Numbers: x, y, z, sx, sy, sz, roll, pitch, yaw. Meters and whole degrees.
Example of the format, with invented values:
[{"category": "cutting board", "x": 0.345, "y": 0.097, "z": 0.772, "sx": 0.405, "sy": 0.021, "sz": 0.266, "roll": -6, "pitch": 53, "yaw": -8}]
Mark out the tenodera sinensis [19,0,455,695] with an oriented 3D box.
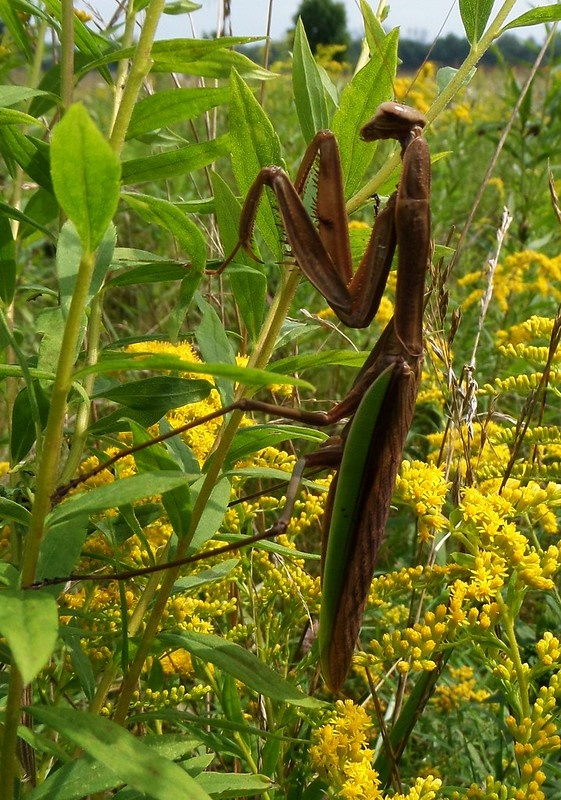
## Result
[{"category": "tenodera sinensis", "x": 0.035, "y": -0.033, "z": 1.622, "sx": 0.346, "sy": 1.114, "sz": 0.603, "roll": 14, "pitch": -1, "yaw": 41}]
